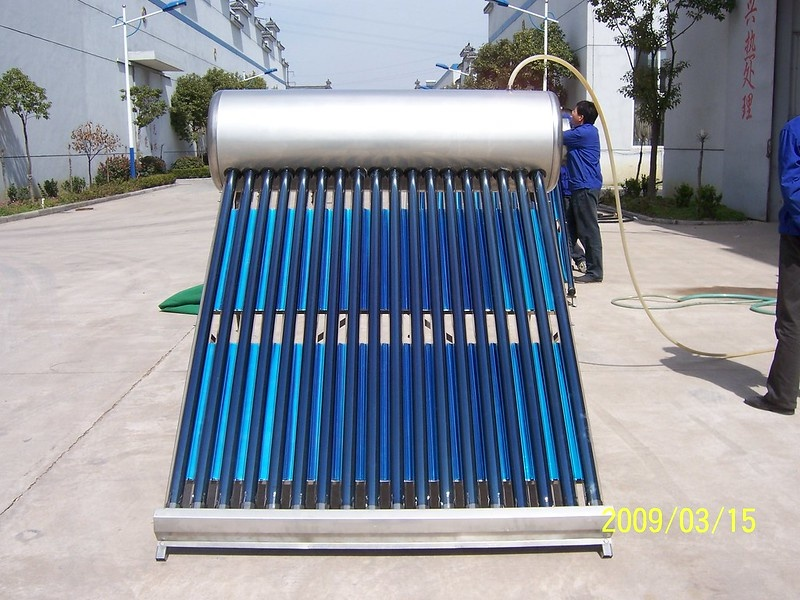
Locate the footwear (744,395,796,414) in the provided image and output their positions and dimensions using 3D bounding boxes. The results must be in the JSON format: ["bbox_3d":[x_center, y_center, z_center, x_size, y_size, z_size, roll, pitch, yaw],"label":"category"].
[{"bbox_3d":[2.440,0.670,4.203,0.244,0.099,0.092,12,10,36],"label":"footwear"}]

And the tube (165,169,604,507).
[{"bbox_3d":[-0.061,0.187,2.913,1.673,1.487,1.369,-3,16,3],"label":"tube"}]

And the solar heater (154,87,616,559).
[{"bbox_3d":[-0.053,0.038,3.105,1.749,0.772,2.299,1,54,-5],"label":"solar heater"}]
